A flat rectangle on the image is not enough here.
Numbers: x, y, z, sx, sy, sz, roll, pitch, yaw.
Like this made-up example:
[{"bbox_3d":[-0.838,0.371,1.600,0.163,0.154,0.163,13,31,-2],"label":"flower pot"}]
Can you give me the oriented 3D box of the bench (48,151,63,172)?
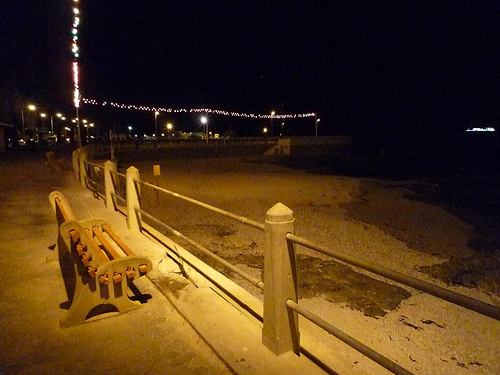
[{"bbox_3d":[-11.083,-1.369,19.606,0.607,0.780,1.376,-9,16,-33],"label":"bench"}]
